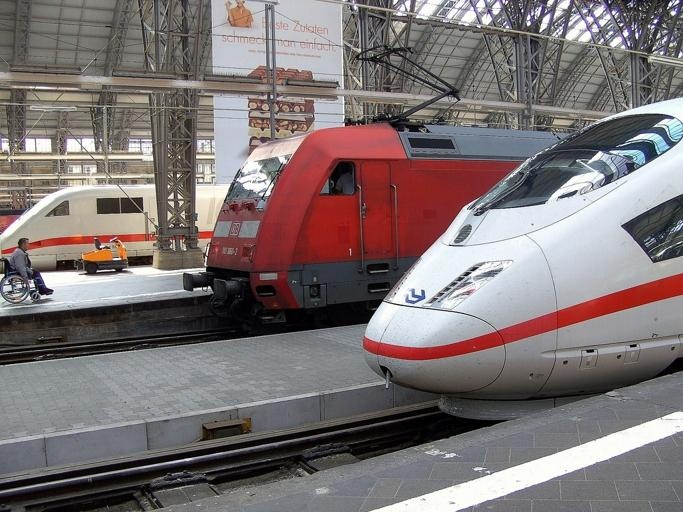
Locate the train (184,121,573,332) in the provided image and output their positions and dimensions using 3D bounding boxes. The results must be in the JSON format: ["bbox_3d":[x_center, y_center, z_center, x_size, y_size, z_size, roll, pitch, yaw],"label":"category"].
[{"bbox_3d":[0.264,-0.820,11.662,10.923,2.910,2.974,-2,1,-23],"label":"train"}]
